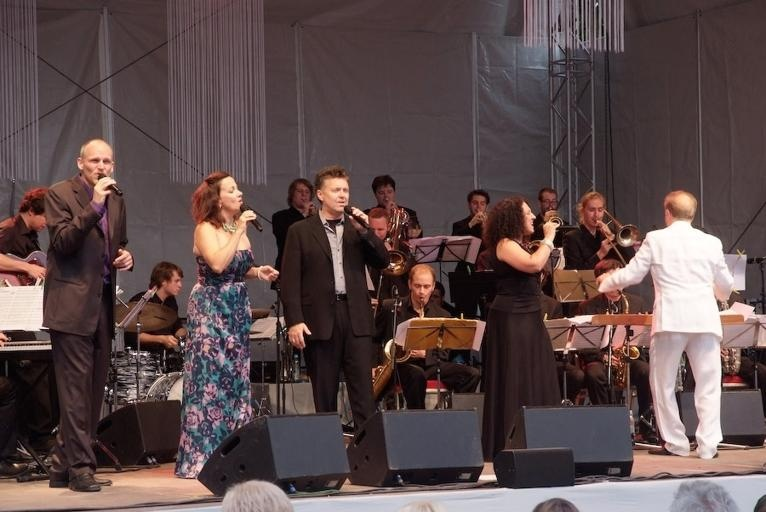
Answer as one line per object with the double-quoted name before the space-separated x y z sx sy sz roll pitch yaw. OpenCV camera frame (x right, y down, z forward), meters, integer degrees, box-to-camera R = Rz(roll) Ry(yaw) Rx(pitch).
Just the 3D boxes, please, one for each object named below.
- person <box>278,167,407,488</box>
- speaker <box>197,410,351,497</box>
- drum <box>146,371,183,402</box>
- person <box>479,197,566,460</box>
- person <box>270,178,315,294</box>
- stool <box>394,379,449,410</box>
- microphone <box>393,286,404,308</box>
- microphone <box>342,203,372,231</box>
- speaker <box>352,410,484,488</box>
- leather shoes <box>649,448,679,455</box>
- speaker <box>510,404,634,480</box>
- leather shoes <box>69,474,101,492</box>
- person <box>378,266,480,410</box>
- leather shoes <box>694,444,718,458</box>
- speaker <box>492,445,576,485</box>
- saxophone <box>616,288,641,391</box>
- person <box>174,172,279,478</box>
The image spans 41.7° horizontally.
"person" -0.422 0.446 8.580 0.867 2.224 0.759 0 21 3
"speaker" -0.809 1.511 7.612 1.318 0.583 0.714 1 17 22
"drum" -2.227 1.374 10.429 0.329 0.337 0.334 6 -1 18
"person" 1.192 0.665 9.394 0.859 2.235 0.831 2 -1 -1
"person" -1.097 -0.036 12.808 0.644 1.838 0.733 3 -3 -8
"stool" 0.474 1.504 10.781 0.602 0.395 0.427 -1 2 0
"microphone" 0.167 0.456 11.132 0.138 0.193 0.063 -3 -1 -8
"microphone" -0.225 -0.360 8.552 0.359 0.096 0.100 34 -6 12
"speaker" 0.259 1.517 7.924 1.032 0.611 0.355 -3 -5 -6
"leather shoes" 2.649 1.866 9.546 0.165 0.030 0.095 5 -21 27
"speaker" 1.540 1.377 8.274 0.789 0.556 0.626 1 1 -13
"leather shoes" -2.336 1.789 7.898 0.251 0.113 0.108 -7 -7 44
"person" 0.461 0.935 10.802 0.805 1.777 0.804 0 -2 -19
"leather shoes" 2.960 1.798 9.151 0.176 0.106 0.136 -4 -5 6
"speaker" 1.178 1.662 7.806 0.610 0.311 0.140 -4 -5 1
"saxophone" 2.617 1.038 10.722 0.242 1.360 0.232 0 7 -1
"person" -1.421 0.588 8.828 0.721 2.542 0.848 7 9 30
